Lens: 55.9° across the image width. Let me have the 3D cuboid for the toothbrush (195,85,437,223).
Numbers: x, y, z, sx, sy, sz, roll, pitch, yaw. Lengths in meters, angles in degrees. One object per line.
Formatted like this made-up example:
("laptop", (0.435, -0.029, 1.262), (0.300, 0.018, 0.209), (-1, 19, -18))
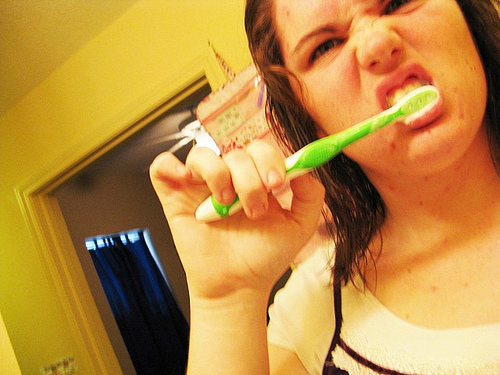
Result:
("toothbrush", (0.166, -0.066, 1.026), (0.614, 0.066, 0.076), (-29, 77, 7))
